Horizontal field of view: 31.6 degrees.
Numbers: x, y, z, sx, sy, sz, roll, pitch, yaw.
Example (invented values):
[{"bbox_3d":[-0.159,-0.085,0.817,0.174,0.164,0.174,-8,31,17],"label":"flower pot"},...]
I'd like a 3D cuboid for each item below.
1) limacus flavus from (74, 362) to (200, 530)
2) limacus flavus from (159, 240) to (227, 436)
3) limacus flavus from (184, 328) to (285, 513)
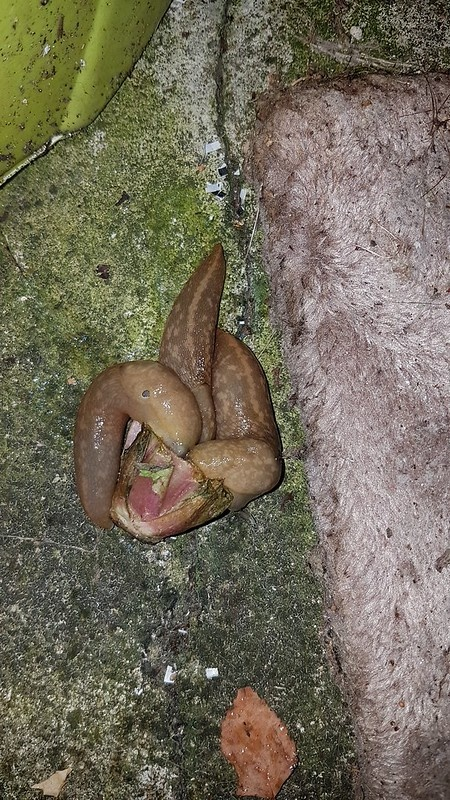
[{"bbox_3d":[-0.275,0.182,3.002,0.526,0.162,0.544,-26,69,31],"label":"limacus flavus"},{"bbox_3d":[-0.116,-0.230,3.099,0.166,0.207,0.723,9,76,-25],"label":"limacus flavus"},{"bbox_3d":[0.066,0.034,3.095,0.322,0.692,0.237,-6,40,-10],"label":"limacus flavus"}]
